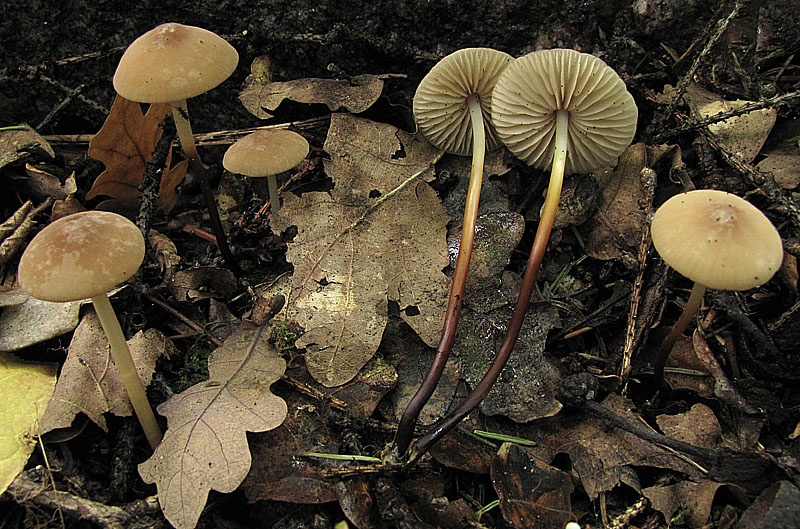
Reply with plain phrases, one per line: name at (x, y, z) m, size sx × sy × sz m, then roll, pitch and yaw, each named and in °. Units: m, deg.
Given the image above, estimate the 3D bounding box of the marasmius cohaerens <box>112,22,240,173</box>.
marasmius cohaerens at (-1.455, -1.274, 4.286) m, size 0.745 × 0.207 × 0.541 m, roll -40°, pitch 80°, yaw -5°

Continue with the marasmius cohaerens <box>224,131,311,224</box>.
marasmius cohaerens at (-0.952, -0.787, 4.704) m, size 0.593 × 0.141 × 0.359 m, roll -25°, pitch 79°, yaw -2°
